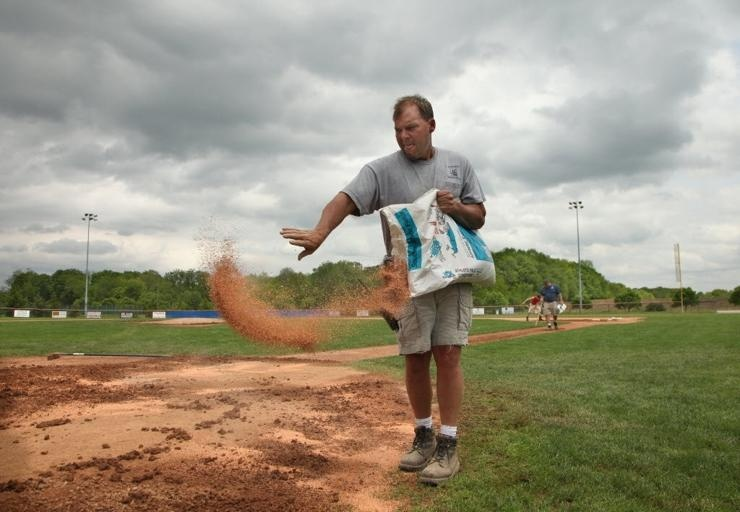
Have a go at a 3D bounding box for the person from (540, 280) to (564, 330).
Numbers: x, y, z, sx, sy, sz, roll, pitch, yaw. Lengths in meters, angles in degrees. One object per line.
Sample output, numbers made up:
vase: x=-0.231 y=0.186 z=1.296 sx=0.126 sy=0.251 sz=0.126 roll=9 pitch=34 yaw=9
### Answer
person: x=6.283 y=1.654 z=20.370 sx=0.816 sy=1.711 sz=0.595 roll=-3 pitch=-2 yaw=8

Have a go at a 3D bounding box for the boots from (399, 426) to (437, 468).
boots: x=0.488 y=1.883 z=5.778 sx=0.242 sy=0.358 sz=0.597 roll=-2 pitch=0 yaw=34

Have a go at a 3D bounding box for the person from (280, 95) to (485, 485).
person: x=0.384 y=0.266 z=5.680 sx=1.598 sy=2.988 sz=0.911 roll=0 pitch=0 yaw=-42

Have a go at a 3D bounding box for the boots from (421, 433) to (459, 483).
boots: x=0.676 y=1.923 z=5.594 sx=0.257 sy=0.386 sz=0.655 roll=3 pitch=3 yaw=25
